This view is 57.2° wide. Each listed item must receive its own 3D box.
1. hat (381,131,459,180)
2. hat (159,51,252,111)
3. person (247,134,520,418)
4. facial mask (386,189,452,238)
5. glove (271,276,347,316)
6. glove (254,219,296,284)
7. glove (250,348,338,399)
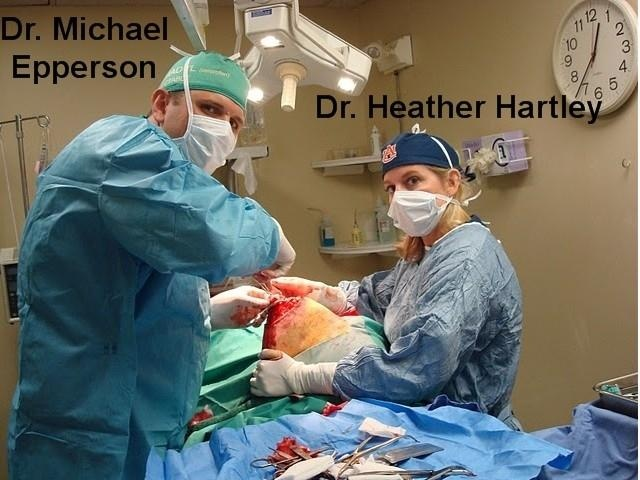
[{"bbox_3d":[0.429,-0.361,2.521,0.229,0.122,0.185,1,-5,-26],"label":"hat"},{"bbox_3d":[-0.408,-0.550,2.142,0.211,0.150,0.223,4,1,-23],"label":"hat"},{"bbox_3d":[0.294,0.248,2.873,1.140,1.594,1.080,8,-21,-11],"label":"person"},{"bbox_3d":[0.409,-0.118,2.478,0.194,0.127,0.197,-36,21,-30],"label":"facial mask"},{"bbox_3d":[-0.034,0.235,2.686,0.241,0.108,0.197,16,-1,-7],"label":"glove"},{"bbox_3d":[-0.152,0.064,2.151,0.153,0.232,0.076,14,33,33],"label":"glove"},{"bbox_3d":[-0.107,0.510,2.206,0.257,0.125,0.170,5,-44,16],"label":"glove"}]
